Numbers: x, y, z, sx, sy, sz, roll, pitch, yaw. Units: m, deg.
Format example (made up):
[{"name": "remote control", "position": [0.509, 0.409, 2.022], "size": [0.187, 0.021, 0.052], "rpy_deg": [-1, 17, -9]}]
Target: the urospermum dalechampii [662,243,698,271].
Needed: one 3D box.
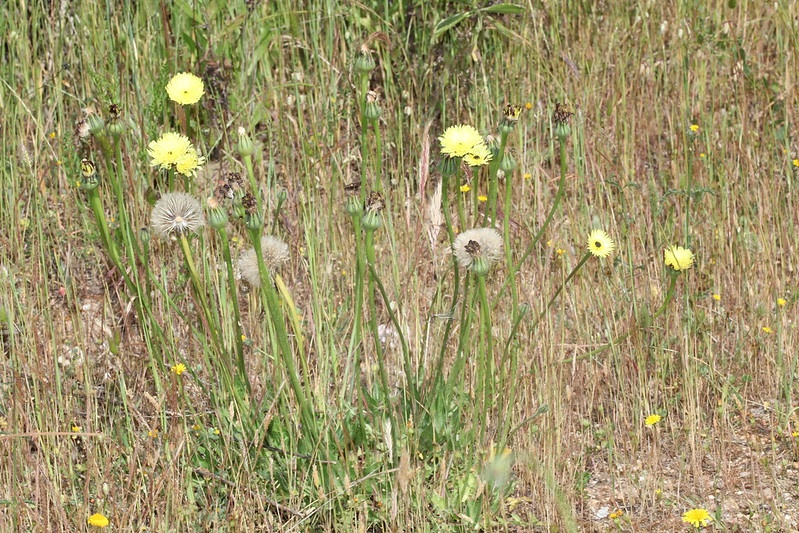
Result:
[{"name": "urospermum dalechampii", "position": [1.307, -0.015, 5.042], "size": [0.113, 0.062, 0.142], "rpy_deg": [-7, 48, -17]}]

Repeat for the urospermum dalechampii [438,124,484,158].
[{"name": "urospermum dalechampii", "position": [0.273, -0.542, 4.667], "size": [0.120, 0.060, 0.166], "rpy_deg": [7, 57, 7]}]

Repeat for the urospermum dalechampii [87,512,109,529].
[{"name": "urospermum dalechampii", "position": [-1.286, 1.087, 4.636], "size": [0.073, 0.095, 0.070], "rpy_deg": [-5, 88, -41]}]

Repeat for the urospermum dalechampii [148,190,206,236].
[{"name": "urospermum dalechampii", "position": [-0.978, -0.270, 4.803], "size": [0.198, 0.191, 0.103], "rpy_deg": [-7, 93, -51]}]

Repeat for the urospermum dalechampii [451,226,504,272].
[{"name": "urospermum dalechampii", "position": [0.346, -0.073, 4.620], "size": [0.150, 0.180, 0.197], "rpy_deg": [-7, 101, -8]}]
